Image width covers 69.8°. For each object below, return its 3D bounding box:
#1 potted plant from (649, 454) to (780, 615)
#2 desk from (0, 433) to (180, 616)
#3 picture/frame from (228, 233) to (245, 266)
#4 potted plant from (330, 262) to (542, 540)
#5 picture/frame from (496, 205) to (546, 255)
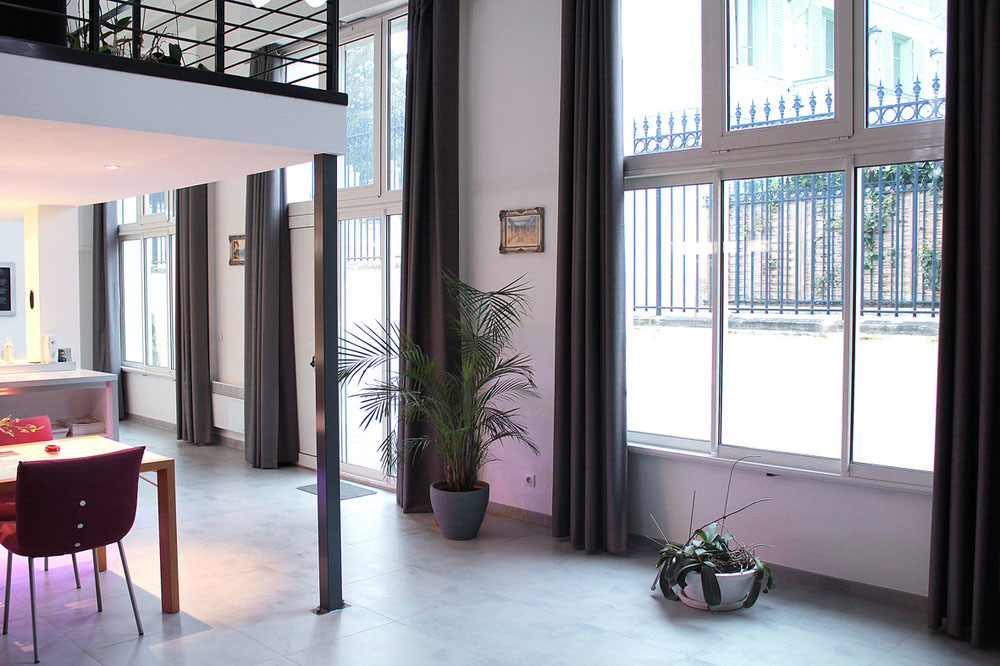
[{"bbox_3d":[1.359,1.345,5.073,0.878,0.986,0.870,2,-3,-30],"label":"potted plant"},{"bbox_3d":[-2.684,1.246,4.826,1.203,1.153,1.152,-3,-3,36],"label":"desk"},{"bbox_3d":[-3.141,-0.990,8.592,0.084,0.362,0.417,-5,8,-38],"label":"picture/frame"},{"bbox_3d":[-0.493,0.550,6.233,1.595,2.125,1.191,2,7,21],"label":"potted plant"},{"bbox_3d":[0.201,-0.884,6.118,0.444,0.375,0.062,2,2,40],"label":"picture/frame"}]
